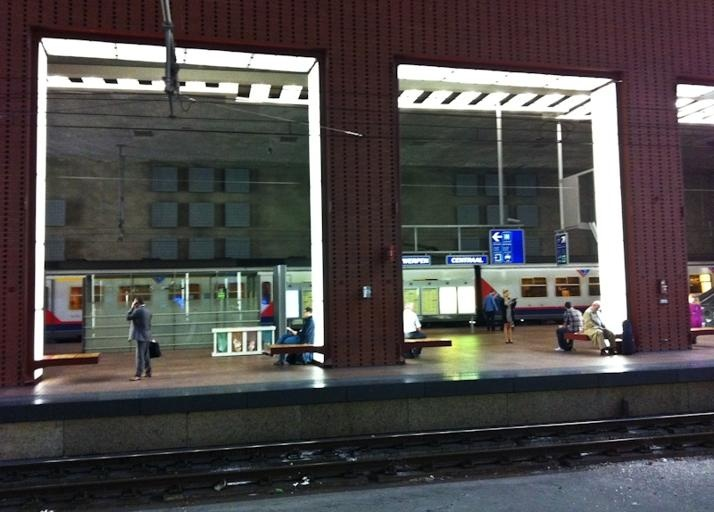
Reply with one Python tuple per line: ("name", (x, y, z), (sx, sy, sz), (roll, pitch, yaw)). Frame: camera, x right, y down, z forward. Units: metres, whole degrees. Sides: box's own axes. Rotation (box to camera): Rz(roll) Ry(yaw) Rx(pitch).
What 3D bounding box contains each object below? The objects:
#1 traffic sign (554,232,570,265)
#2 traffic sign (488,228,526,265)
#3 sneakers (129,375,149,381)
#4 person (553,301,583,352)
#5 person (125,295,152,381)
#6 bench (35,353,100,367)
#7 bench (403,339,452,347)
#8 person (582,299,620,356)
("traffic sign", (7.052, -0.230, 29.115), (0.357, 1.119, 1.290), (-4, -3, 9))
("traffic sign", (4.962, -0.266, 28.264), (1.740, 1.187, 0.193), (0, 0, -4))
("sneakers", (-4.857, 2.730, 18.886), (0.425, 0.130, 0.126), (5, -9, -27))
("person", (5.704, 1.895, 22.777), (0.660, 1.252, 1.653), (-4, -3, 12))
("person", (-4.892, 1.868, 19.053), (0.491, 1.784, 0.727), (-3, -4, -14))
("bench", (-6.553, 2.399, 19.381), (1.338, 0.306, 1.456), (-2, -2, -8))
("bench", (1.736, 2.186, 21.016), (1.104, 0.205, 1.208), (-2, -2, 3))
("person", (6.174, 1.851, 21.810), (0.778, 1.301, 0.985), (-3, -3, 6))
